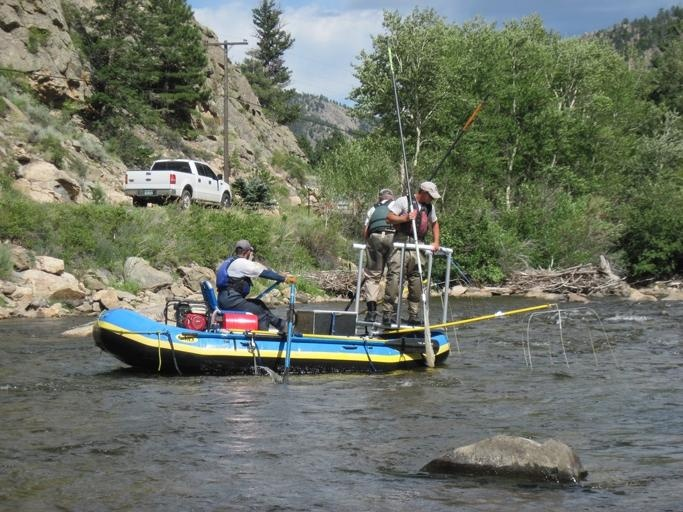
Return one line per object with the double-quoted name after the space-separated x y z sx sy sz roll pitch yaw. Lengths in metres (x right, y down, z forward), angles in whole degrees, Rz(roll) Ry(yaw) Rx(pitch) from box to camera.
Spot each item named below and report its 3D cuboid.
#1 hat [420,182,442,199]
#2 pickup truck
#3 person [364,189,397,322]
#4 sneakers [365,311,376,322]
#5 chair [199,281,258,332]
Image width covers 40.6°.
2.205 -1.635 22.961 0.438 0.496 1.278 -1 -5 8 "hat"
-6.274 -2.961 36.967 2.083 1.254 4.024 2 5 29 "pickup truck"
0.941 -0.053 22.627 0.719 3.304 1.022 0 -5 -4 "person"
0.707 1.490 22.568 0.315 0.252 0.242 3 -25 2 "sneakers"
-2.601 1.243 21.910 1.330 0.954 0.714 5 9 -3 "chair"
